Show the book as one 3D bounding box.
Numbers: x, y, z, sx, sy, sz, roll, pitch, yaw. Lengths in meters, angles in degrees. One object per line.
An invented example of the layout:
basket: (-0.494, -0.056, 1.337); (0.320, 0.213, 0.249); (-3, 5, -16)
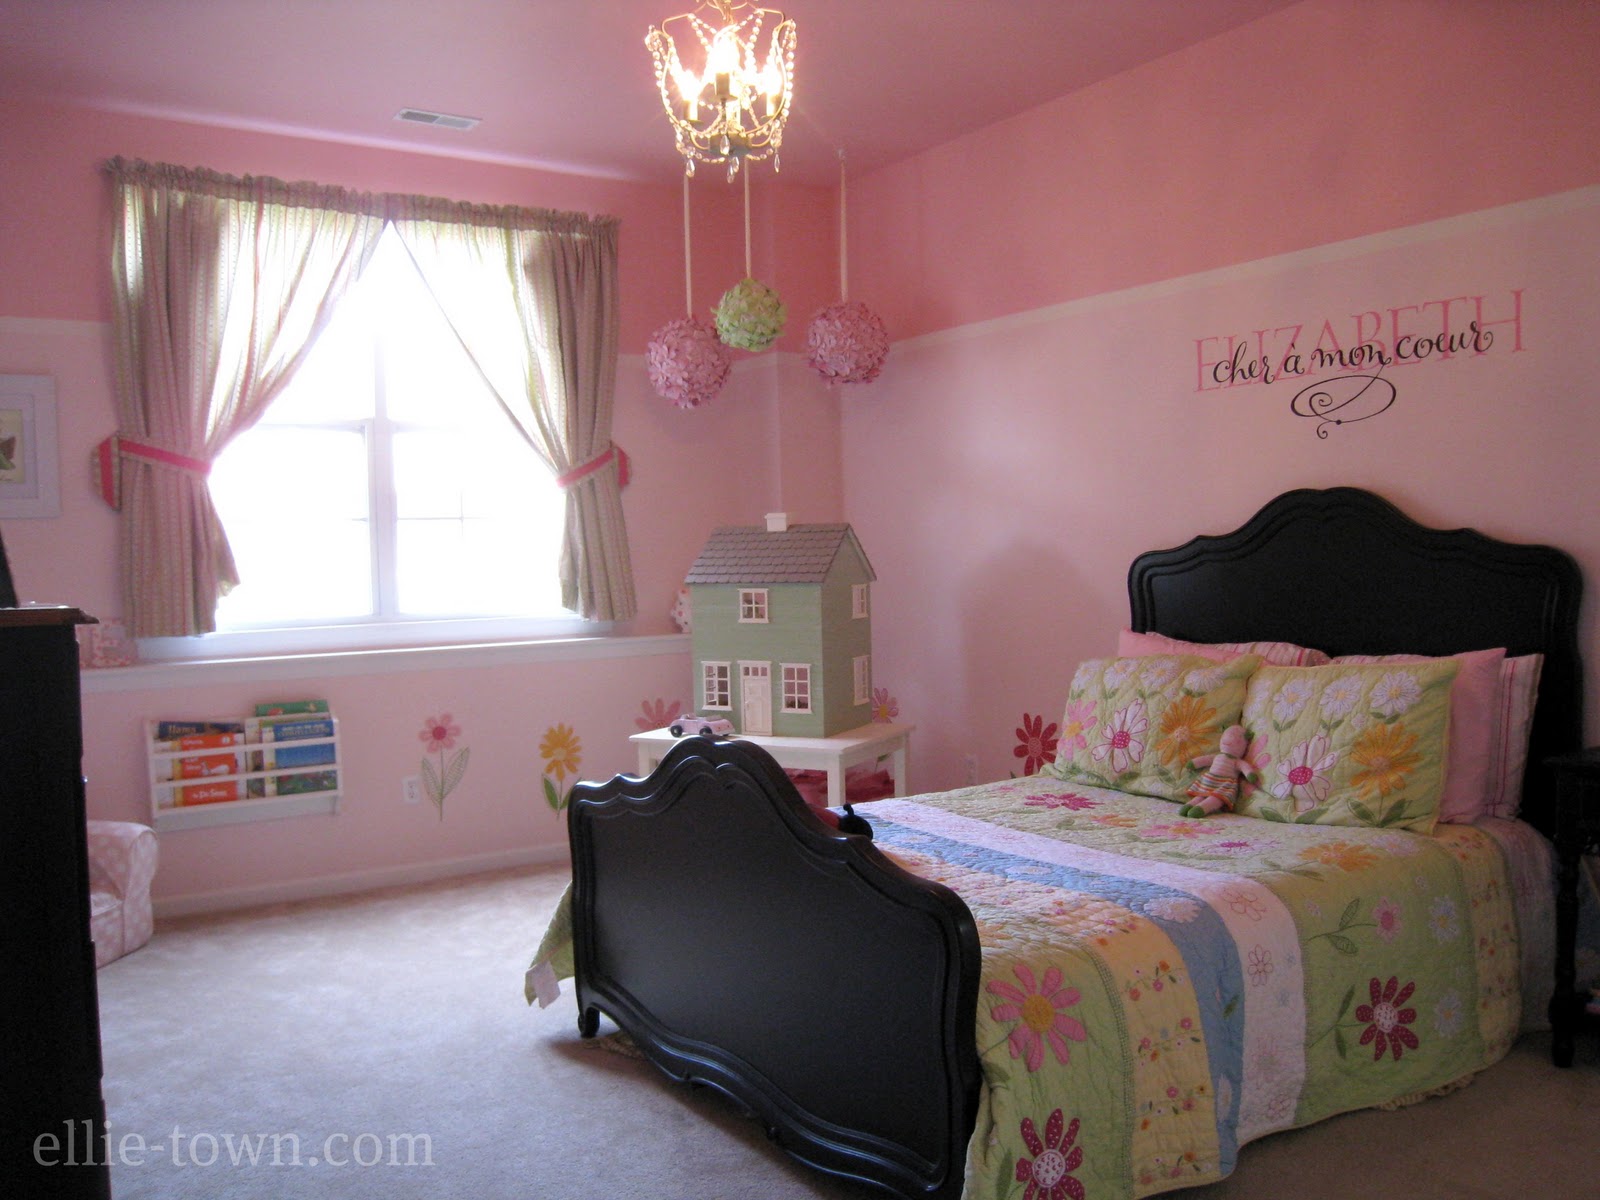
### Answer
book: (-2.317, 0.469, 5.165); (0.812, 0.620, 0.373); (-2, 6, -24)

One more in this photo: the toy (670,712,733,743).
toy: (-0.406, 0.509, 5.077); (0.268, 0.136, 0.172); (2, -4, -16)

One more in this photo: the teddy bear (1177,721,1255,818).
teddy bear: (1.374, 0.564, 4.045); (0.196, 0.313, 0.113); (27, 15, 31)
